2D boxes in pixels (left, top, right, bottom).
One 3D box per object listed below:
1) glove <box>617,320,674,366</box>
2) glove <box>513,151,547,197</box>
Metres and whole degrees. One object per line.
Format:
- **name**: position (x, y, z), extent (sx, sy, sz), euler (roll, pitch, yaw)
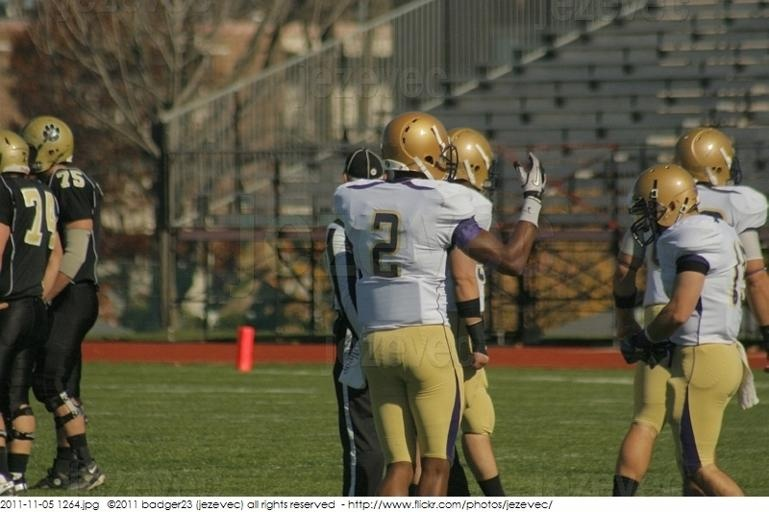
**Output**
- **glove**: position (3.371, 1.156, 22.518), extent (0.622, 0.242, 0.442), euler (7, -21, -7)
- **glove**: position (1.764, -1.037, 22.225), extent (0.246, 0.520, 0.472), euler (-3, 21, 41)
